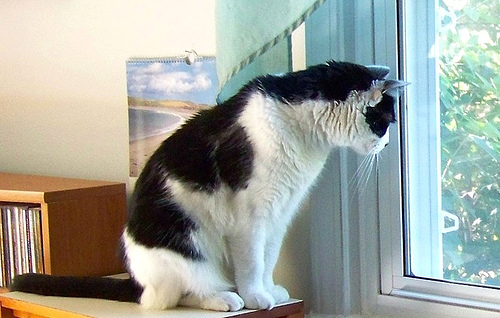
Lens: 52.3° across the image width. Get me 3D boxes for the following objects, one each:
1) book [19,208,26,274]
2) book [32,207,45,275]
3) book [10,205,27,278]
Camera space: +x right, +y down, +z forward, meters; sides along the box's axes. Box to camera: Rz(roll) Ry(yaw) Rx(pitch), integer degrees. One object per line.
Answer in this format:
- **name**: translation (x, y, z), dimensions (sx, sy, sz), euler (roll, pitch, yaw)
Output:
- **book**: translation (-0.945, 0.338, 2.117), dimensions (0.029, 0.266, 0.073), euler (1, -8, -24)
- **book**: translation (-0.854, 0.330, 2.066), dimensions (0.042, 0.264, 0.132), euler (2, -9, -34)
- **book**: translation (-0.960, 0.336, 2.115), dimensions (0.036, 0.329, 0.243), euler (-4, -7, -15)
